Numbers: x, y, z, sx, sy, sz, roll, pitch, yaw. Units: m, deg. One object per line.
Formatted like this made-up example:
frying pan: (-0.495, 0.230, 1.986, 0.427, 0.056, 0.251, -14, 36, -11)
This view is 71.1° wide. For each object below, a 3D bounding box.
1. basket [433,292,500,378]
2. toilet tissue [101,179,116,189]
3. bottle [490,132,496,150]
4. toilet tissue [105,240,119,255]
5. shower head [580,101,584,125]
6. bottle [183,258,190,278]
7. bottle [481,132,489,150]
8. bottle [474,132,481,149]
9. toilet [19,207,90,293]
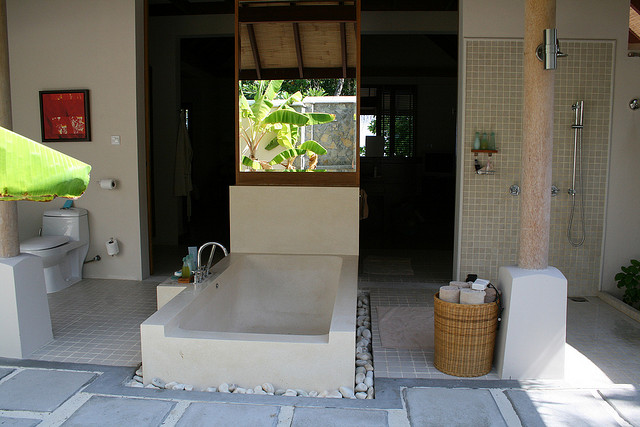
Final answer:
basket: (1.220, 0.929, 3.745, 0.530, 0.601, 0.540, 10, 36, 17)
toilet tissue: (-2.639, -0.367, 5.582, 0.147, 0.130, 0.108, 1, 13, 7)
bottle: (2.016, -0.843, 5.203, 0.074, 0.191, 0.098, 4, 13, 16)
toilet tissue: (-2.607, 0.422, 5.699, 0.154, 0.179, 0.166, 4, 20, 9)
shower head: (2.990, -1.146, 5.096, 0.032, 0.259, 0.092, 7, 14, 29)
bottle: (-1.255, 0.526, 4.217, 0.062, 0.155, 0.071, 1, 12, 2)
bottle: (1.925, -0.843, 5.207, 0.085, 0.191, 0.103, 5, 13, 19)
bottle: (1.841, -0.847, 5.206, 0.074, 0.185, 0.077, 0, 12, 0)
toilet: (-3.270, 0.449, 5.437, 0.541, 0.895, 0.881, 3, 9, 3)
